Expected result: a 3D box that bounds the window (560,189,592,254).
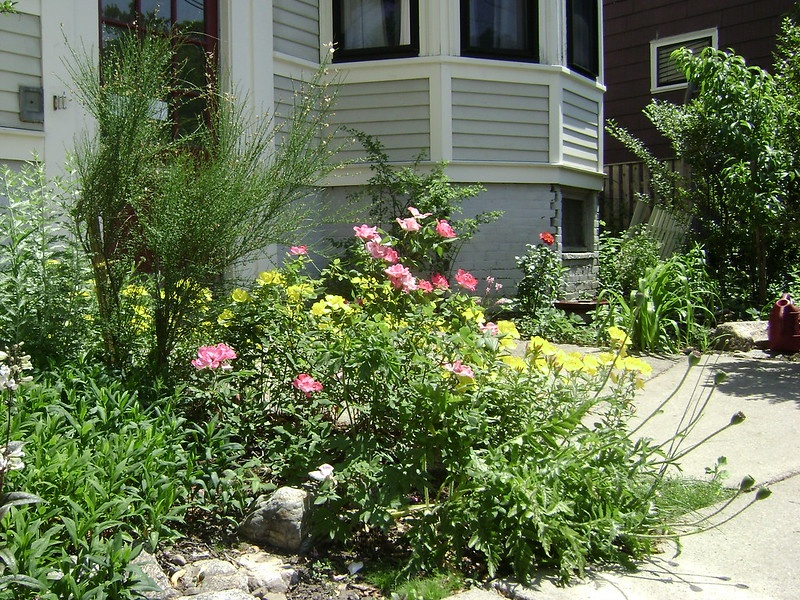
[{"bbox_3d":[2.350,-0.980,9.072,0.626,0.770,0.055,5,-15,-8],"label":"window"}]
